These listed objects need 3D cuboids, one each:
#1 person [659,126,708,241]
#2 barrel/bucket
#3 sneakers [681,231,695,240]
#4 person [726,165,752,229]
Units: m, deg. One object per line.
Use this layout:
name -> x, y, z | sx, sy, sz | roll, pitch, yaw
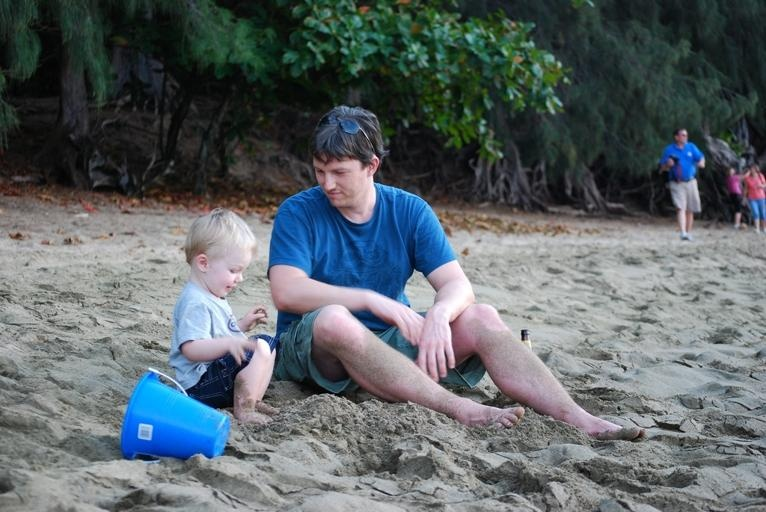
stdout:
person -> 4.893, -1.203, 15.332 | 0.685, 1.822, 0.710 | 4, 1, 14
barrel/bucket -> -1.648, 1.365, 7.675 | 0.817, 0.844, 0.736 | 5, 9, 8
sneakers -> 4.999, -0.338, 15.307 | 0.126, 0.170, 0.383 | 2, 10, 12
person -> 6.864, -1.093, 17.939 | 0.402, 0.489, 1.158 | -24, -34, 13
